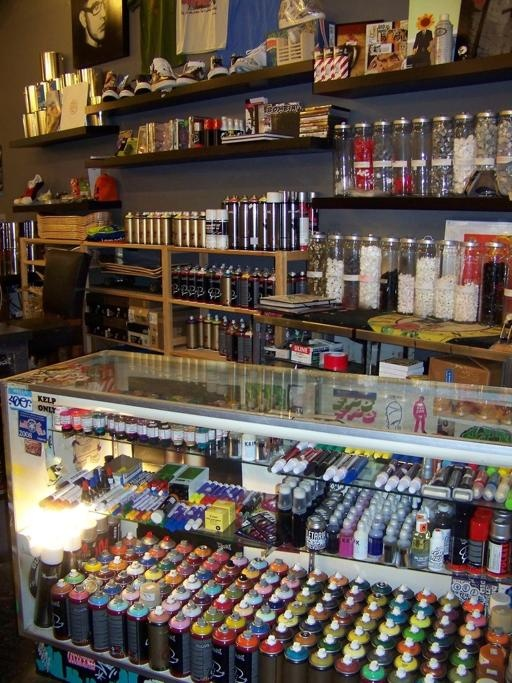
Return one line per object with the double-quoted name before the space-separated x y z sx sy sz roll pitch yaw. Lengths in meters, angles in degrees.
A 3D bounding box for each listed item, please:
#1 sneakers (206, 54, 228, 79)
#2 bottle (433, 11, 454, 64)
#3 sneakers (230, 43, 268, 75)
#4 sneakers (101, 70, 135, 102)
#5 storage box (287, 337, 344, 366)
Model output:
"sneakers" -0.235 -1.657 3.400 0.097 0.106 0.258 -11 16 -23
"bottle" 0.751 -1.204 2.263 0.081 0.198 0.166 2 12 18
"sneakers" -0.026 -1.617 3.212 0.330 0.139 0.108 -5 34 5
"sneakers" -1.070 -1.945 4.284 0.191 0.222 0.540 -8 27 -21
"storage box" 0.245 0.039 2.453 0.141 0.054 0.145 11 14 42
